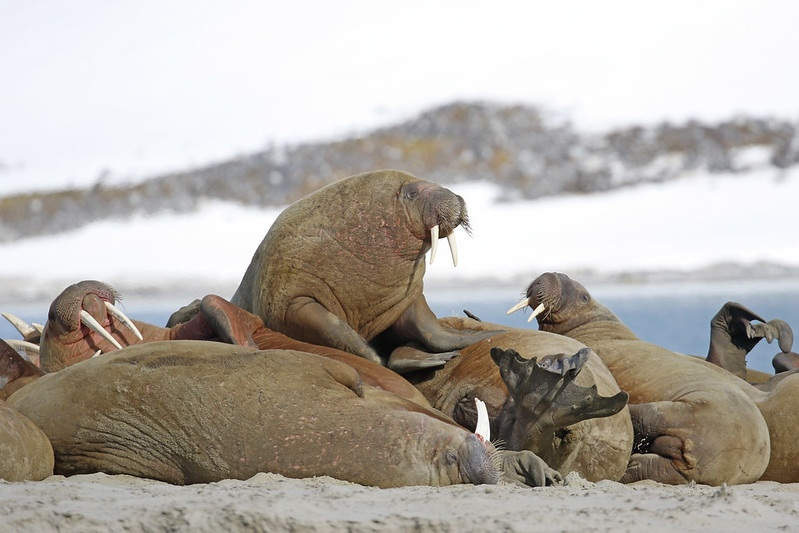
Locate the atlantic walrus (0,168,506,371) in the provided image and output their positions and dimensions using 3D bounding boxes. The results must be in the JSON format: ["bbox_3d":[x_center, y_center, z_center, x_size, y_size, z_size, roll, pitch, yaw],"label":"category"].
[{"bbox_3d":[-0.736,0.096,13.070,3.335,1.842,2.001,-6,-5,42],"label":"atlantic walrus"}]

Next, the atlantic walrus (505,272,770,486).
[{"bbox_3d":[2.327,1.066,12.526,2.867,1.089,2.036,34,21,34],"label":"atlantic walrus"}]

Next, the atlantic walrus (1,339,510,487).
[{"bbox_3d":[-1.275,1.224,10.206,2.347,0.642,1.706,11,-5,1],"label":"atlantic walrus"}]
